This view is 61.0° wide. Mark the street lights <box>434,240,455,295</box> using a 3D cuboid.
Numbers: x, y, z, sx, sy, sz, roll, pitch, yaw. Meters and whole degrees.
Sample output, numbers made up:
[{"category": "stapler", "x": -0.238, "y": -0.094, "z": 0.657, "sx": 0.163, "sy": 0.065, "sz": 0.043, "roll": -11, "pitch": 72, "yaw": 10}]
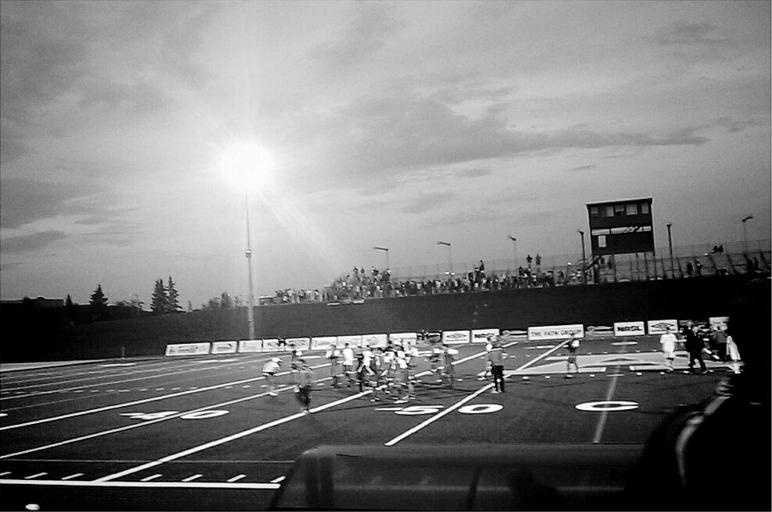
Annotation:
[{"category": "street lights", "x": 1.961, "y": 0.159, "z": 21.273, "sx": 0.495, "sy": 1.285, "sz": 0.787, "roll": -7, "pitch": -7, "yaw": 6}]

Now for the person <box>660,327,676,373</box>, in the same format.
[{"category": "person", "x": 8.520, "y": 2.869, "z": 19.660, "sx": 0.420, "sy": 1.106, "sz": 0.610, "roll": -9, "pitch": -7, "yaw": 21}]

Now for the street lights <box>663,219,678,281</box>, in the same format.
[{"category": "street lights", "x": 8.717, "y": -0.256, "z": 19.977, "sx": 0.237, "sy": 1.491, "sz": 0.705, "roll": -9, "pitch": -7, "yaw": 22}]

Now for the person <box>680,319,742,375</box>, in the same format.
[{"category": "person", "x": 9.239, "y": 2.603, "z": 18.833, "sx": 1.159, "sy": 1.421, "sz": 2.299, "roll": -8, "pitch": -7, "yaw": 23}]

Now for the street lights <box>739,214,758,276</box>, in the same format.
[{"category": "street lights", "x": 10.773, "y": -0.372, "z": 19.422, "sx": 0.391, "sy": 1.664, "sz": 0.764, "roll": -8, "pitch": -7, "yaw": 17}]
